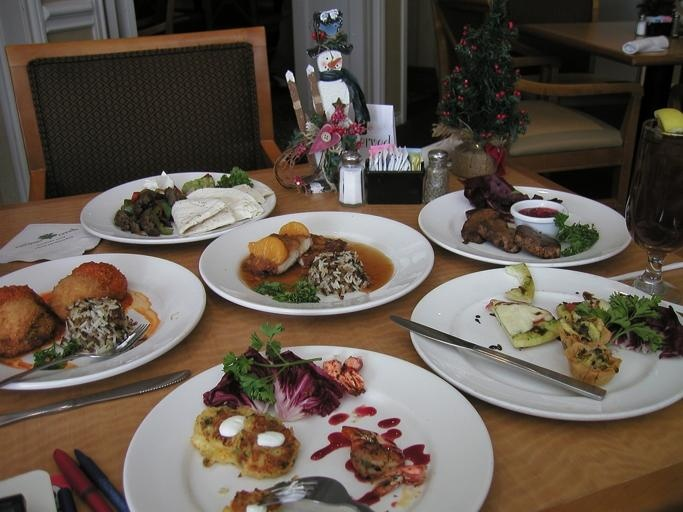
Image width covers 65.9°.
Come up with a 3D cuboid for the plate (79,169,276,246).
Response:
[{"bbox_3d":[-0.457,-0.136,1.529,0.450,0.141,0.546,14,20,35],"label":"plate"}]

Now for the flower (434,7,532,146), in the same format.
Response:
[{"bbox_3d":[0.499,-0.619,1.796,0.301,0.453,0.342,9,31,16],"label":"flower"}]

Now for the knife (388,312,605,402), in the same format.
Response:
[{"bbox_3d":[0.295,0.191,0.970,0.327,0.016,0.045,20,42,24],"label":"knife"}]

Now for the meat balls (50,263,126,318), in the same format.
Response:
[{"bbox_3d":[-0.550,0.039,1.181,0.168,0.117,0.153,0,18,0],"label":"meat balls"}]
